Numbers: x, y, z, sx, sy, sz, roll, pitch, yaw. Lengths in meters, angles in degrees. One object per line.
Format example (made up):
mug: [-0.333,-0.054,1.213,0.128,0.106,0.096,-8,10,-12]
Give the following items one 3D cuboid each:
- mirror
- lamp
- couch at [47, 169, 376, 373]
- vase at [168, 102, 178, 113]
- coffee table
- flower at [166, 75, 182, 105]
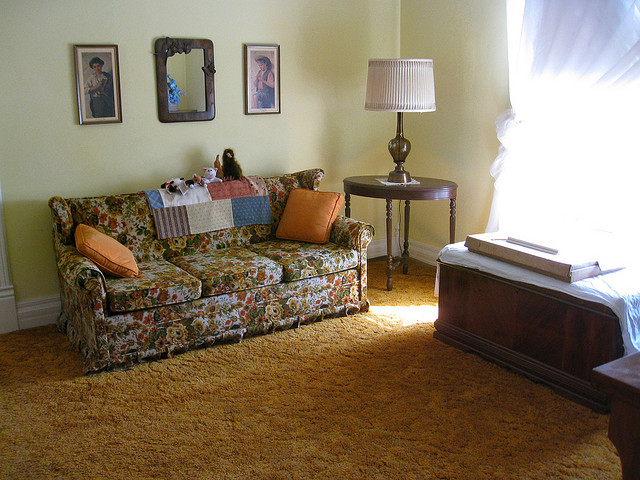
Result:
mirror: [-1.070,-1.274,4.296,0.559,0.865,0.063,-3,13,-20]
lamp: [0.731,-1.013,4.578,0.511,0.998,0.676,10,18,35]
couch: [-0.765,0.143,4.148,2.190,1.227,1.000,-9,10,-35]
vase: [-1.154,-1.039,4.295,0.061,0.055,0.068,-1,10,0]
coffee table: [0.685,0.032,4.896,0.808,1.119,1.164,-5,9,-29]
flower: [-1.142,-1.174,4.285,0.097,0.217,0.024,-10,17,-34]
